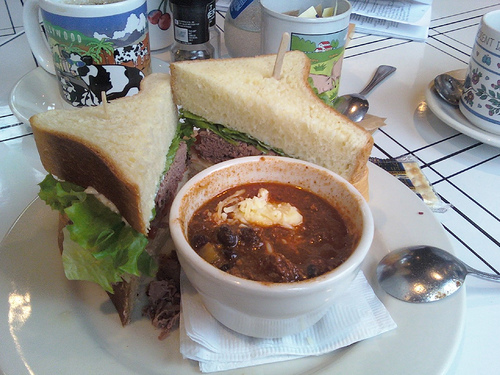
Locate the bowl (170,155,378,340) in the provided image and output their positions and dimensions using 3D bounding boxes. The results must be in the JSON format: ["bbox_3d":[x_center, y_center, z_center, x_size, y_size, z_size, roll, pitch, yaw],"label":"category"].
[{"bbox_3d":[0.077,0.196,1.563,0.743,0.316,0.722,1,48,-1],"label":"bowl"}]
